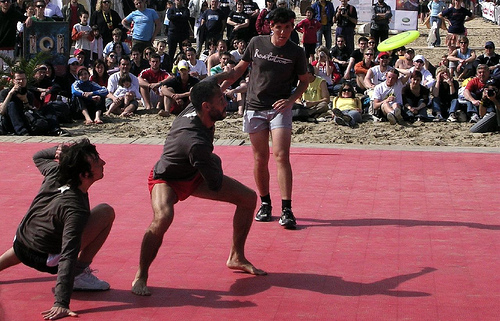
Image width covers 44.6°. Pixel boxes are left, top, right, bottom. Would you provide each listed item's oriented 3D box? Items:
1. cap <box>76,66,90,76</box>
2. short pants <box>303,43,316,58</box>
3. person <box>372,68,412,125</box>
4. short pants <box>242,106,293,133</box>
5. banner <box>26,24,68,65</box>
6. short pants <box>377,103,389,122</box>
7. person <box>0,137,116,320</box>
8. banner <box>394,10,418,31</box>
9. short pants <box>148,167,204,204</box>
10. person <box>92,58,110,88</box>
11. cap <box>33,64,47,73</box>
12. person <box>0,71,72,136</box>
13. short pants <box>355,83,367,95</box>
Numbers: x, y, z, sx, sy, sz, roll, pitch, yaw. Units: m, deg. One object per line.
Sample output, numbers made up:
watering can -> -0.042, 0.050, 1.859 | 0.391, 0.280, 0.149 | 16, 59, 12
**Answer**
cap -> -3.975, -2.080, 14.252 | 0.328, 0.120, 0.330 | -3, 15, -2
short pants -> 1.823, -3.429, 18.877 | 0.399, 0.431, 0.449 | 2, 9, 4
person -> 3.348, -1.507, 14.122 | 0.885, 1.256, 0.982 | 0, 9, -9
short pants -> 0.209, -0.534, 7.836 | 0.672, 0.492, 0.348 | 2, 8, 4
banner -> -5.003, -2.887, 15.032 | 1.001, 1.015, 0.462 | -1, 10, -16
short pants -> 3.090, -1.138, 14.190 | 0.148, 0.428, 0.227 | -3, 11, -25
person -> -1.772, 0.606, 5.821 | 0.798, 1.624, 1.017 | -8, 13, -42
banner -> 5.897, -5.387, 23.176 | 0.983, 0.778, 0.668 | 3, 7, 10
short pants -> -0.823, 0.232, 6.493 | 0.768, 0.247, 0.698 | -2, 15, 3
person -> -3.833, -2.245, 15.528 | 0.482, 0.661, 0.310 | 2, 19, 3
cap -> -4.649, -2.048, 13.482 | 0.292, 0.187, 0.323 | -2, 9, -18
person -> -4.503, -1.176, 12.406 | 1.081, 1.288, 0.983 | -8, 13, -44
short pants -> 2.871, -1.892, 15.895 | 0.233, 0.281, 0.502 | 2, 8, 2
